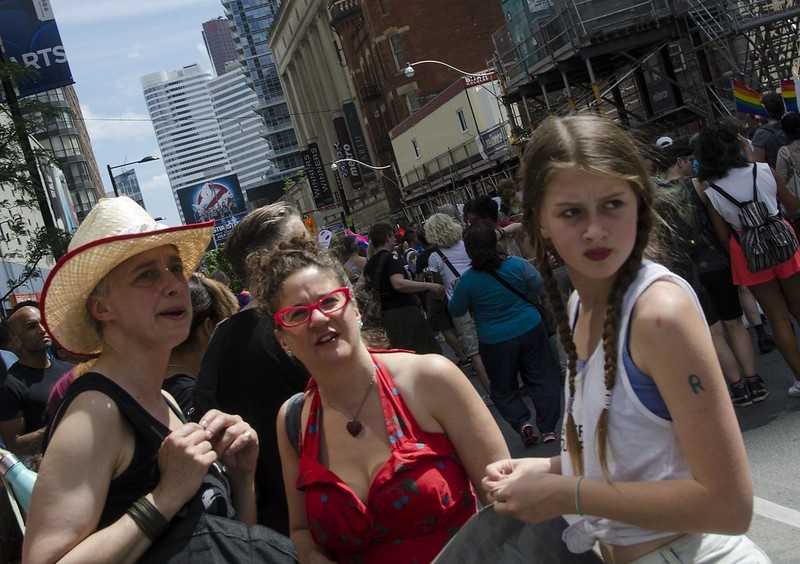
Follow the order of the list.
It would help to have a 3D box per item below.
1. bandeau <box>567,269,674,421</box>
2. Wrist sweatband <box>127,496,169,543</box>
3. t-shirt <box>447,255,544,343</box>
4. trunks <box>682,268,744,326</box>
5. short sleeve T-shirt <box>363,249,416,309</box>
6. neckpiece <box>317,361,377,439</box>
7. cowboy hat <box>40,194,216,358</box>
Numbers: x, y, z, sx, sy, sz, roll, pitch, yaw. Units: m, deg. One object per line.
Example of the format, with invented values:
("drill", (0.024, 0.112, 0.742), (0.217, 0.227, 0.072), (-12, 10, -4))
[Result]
("bandeau", (0.801, 0.235, 2.332), (0.341, 0.522, 0.125), (-3, 12, 9))
("Wrist sweatband", (-1.003, 0.941, 2.631), (0.106, 0.151, 0.140), (-50, 2, 2))
("t-shirt", (1.092, 0.107, 7.194), (1.145, 0.912, 0.608), (-18, 26, 10))
("trunks", (2.578, 0.102, 5.314), (0.365, 0.531, 0.293), (-16, 0, 21))
("short sleeve T-shirt", (-0.153, -0.034, 8.367), (0.382, 0.710, 0.690), (-11, -9, -22))
("neckpiece", (-0.245, 0.555, 3.090), (0.266, 0.325, 0.027), (-25, -32, 17))
("cowboy hat", (-1.340, -0.248, 3.094), (0.852, 0.372, 0.743), (11, 30, 42))
